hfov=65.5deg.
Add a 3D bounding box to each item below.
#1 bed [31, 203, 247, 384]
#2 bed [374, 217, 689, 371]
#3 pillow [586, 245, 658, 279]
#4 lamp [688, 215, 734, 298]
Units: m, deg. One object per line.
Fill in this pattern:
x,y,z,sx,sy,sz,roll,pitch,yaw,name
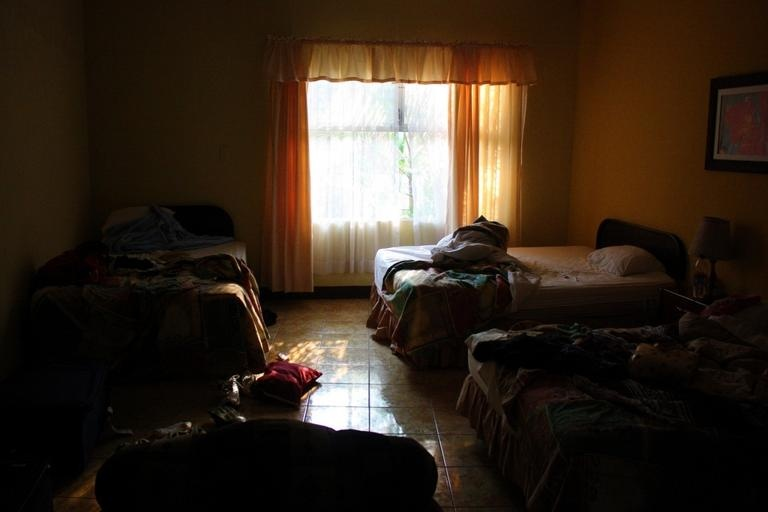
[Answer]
-1.910,0.288,4.803,1.747,1.189,1.660,-9,15,-33,bed
1.186,0.273,5.130,1.838,0.777,1.457,-1,13,-5,bed
2.093,0.049,5.298,0.295,0.124,0.415,-5,11,4,pillow
2.534,0.014,4.617,0.272,0.615,0.366,6,14,31,lamp
